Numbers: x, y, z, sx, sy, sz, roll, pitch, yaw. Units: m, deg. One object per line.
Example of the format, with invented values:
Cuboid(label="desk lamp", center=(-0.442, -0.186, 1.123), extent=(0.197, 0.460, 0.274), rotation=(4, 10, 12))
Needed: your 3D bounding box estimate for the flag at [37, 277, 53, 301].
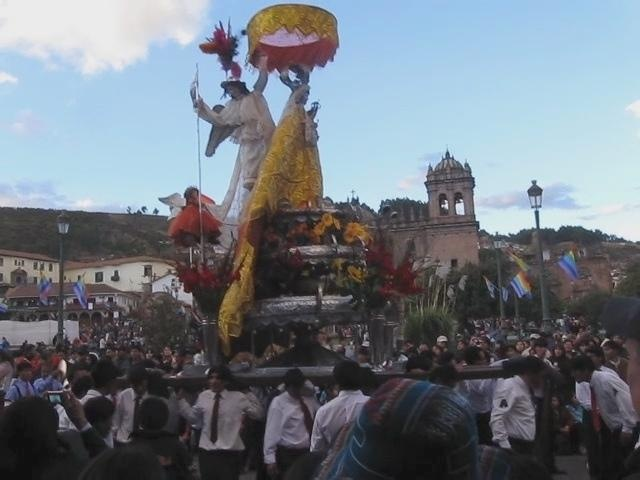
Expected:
Cuboid(label="flag", center=(-12.492, 2.297, 32.405), extent=(0.368, 1.193, 4.732), rotation=(2, -7, -21))

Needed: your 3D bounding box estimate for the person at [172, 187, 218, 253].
Cuboid(label="person", center=(-1.993, -0.382, 11.441), extent=(0.756, 0.991, 0.856), rotation=(-2, -7, 15))

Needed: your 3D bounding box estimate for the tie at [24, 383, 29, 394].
Cuboid(label="tie", center=(-4.420, 2.269, 10.791), extent=(0.092, 0.124, 0.038), rotation=(-2, -9, -5))
